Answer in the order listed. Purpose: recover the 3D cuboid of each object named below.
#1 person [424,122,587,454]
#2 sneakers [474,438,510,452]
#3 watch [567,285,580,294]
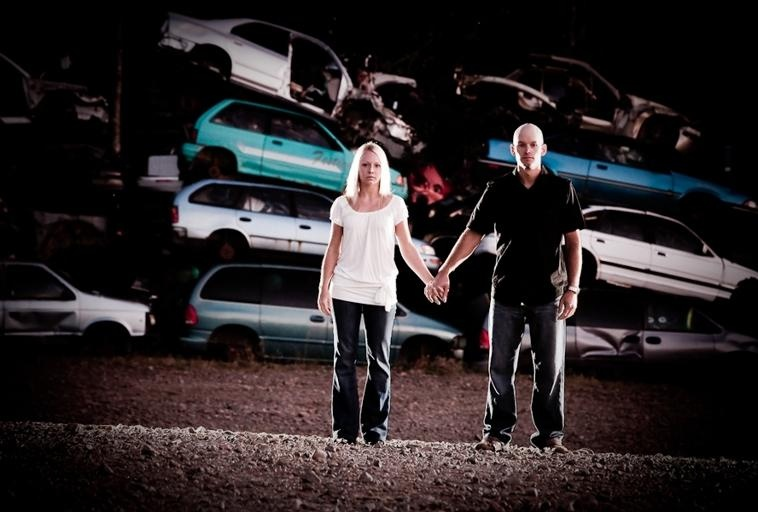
[{"bbox_3d":[1.206,0.279,6.587,1.118,2.827,0.492,6,8,4],"label":"person"},{"bbox_3d":[0.985,1.644,6.583,0.285,0.124,0.113,10,-2,6],"label":"sneakers"},{"bbox_3d":[1.685,0.291,6.527,0.076,0.041,0.075,19,-2,4],"label":"watch"}]
